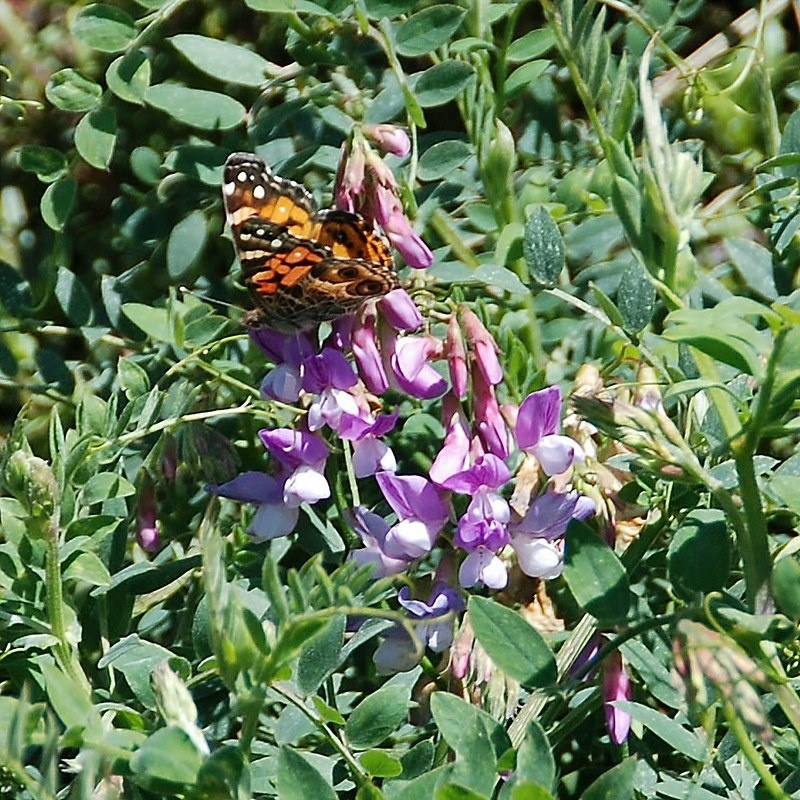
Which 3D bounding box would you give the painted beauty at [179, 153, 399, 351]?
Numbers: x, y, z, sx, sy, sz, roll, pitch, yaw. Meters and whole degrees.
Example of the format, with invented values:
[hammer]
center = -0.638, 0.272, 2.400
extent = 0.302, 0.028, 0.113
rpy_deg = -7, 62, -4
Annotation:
[painted beauty]
center = -0.126, -0.196, 1.354
extent = 0.278, 0.287, 0.212
rpy_deg = -6, 108, -25
